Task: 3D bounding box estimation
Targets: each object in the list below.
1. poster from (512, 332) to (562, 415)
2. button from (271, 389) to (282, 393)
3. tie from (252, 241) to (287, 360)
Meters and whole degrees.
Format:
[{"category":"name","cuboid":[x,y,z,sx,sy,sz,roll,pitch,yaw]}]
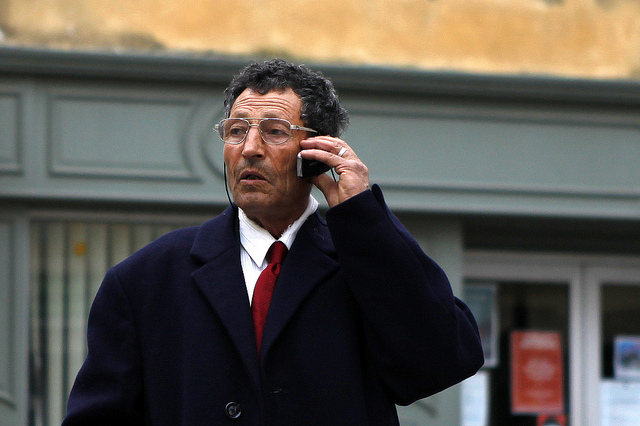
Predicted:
[{"category":"poster","cuboid":[2.387,1.764,20.214,0.539,0.883,0.233,0,-15,-16]},{"category":"button","cuboid":[-0.370,1.618,16.698,0.080,0.032,0.004,-4,-14,-1]},{"category":"tie","cuboid":[-0.432,0.805,16.876,0.226,1.098,0.148,5,-17,32]}]
